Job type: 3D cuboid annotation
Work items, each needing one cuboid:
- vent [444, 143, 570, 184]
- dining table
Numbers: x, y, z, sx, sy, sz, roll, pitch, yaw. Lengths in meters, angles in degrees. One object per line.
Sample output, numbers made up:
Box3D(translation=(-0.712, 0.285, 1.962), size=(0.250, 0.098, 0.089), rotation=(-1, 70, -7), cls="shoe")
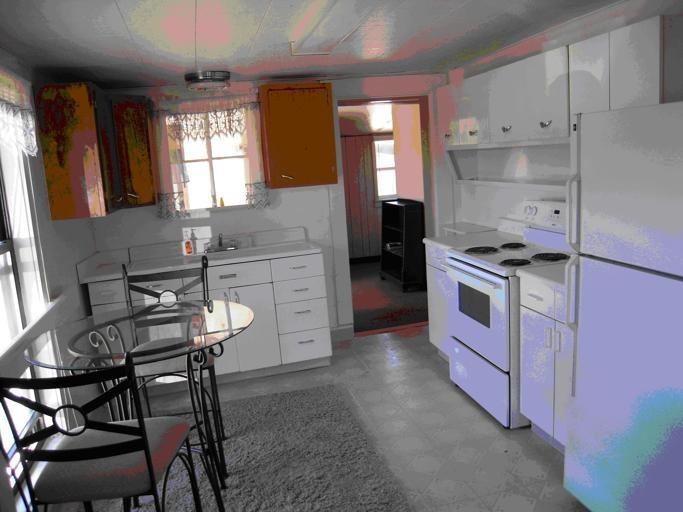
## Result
Box3D(translation=(1.515, -0.794, 4.281), size=(0.321, 0.314, 1.341), rotation=(-4, 10, -31), cls="vent")
Box3D(translation=(-1.043, 0.539, 3.135), size=(0.870, 0.665, 0.860), rotation=(-8, -1, 15), cls="dining table")
